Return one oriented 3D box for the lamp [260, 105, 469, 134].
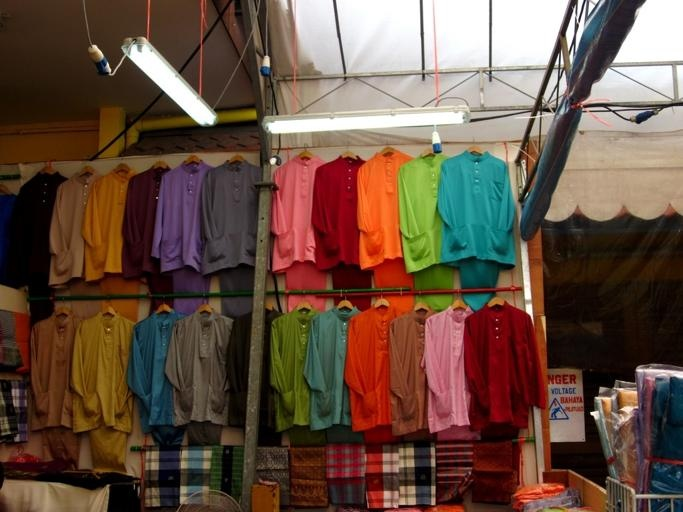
[{"bbox_3d":[0.227,-1.386,7.432,2.059,0.166,0.263,-3,-8,6],"label":"lamp"}]
